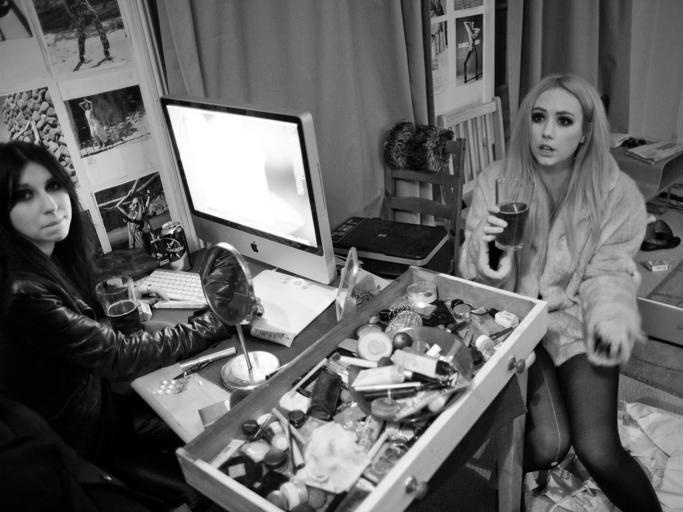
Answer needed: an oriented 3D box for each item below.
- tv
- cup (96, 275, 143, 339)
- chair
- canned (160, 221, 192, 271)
[{"bbox_3d":[-0.301,-0.247,1.557,0.637,0.518,0.111,18,42,33],"label":"tv"},{"bbox_3d":[-0.666,0.155,1.430,0.094,0.159,0.097,-11,24,5],"label":"cup"},{"bbox_3d":[0.400,-0.325,2.198,0.512,0.999,0.608,15,44,24],"label":"chair"},{"bbox_3d":[-0.616,-0.037,1.793,0.077,0.200,0.079,19,37,33],"label":"canned"}]
